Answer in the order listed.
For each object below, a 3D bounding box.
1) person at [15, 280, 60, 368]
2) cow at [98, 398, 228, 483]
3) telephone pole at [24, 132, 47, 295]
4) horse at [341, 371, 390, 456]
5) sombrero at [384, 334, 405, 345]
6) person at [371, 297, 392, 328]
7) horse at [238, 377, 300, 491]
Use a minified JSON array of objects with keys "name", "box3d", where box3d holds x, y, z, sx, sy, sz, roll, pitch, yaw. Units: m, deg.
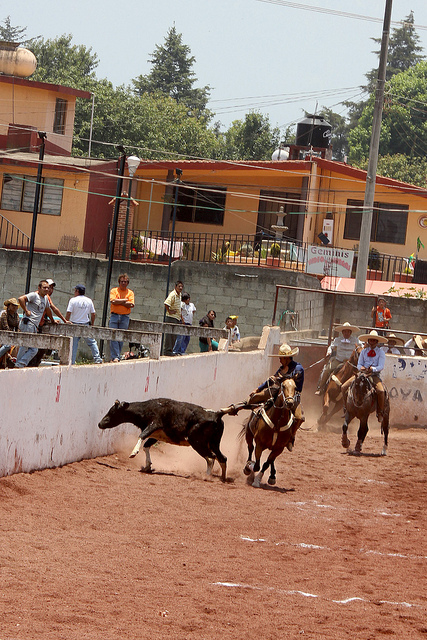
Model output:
[{"name":"person","box3d":[-2.647,0.043,14.226,0.572,1.200,1.720,7,2,-11]},{"name":"cow","box3d":[-0.547,1.433,11.797,1.478,0.937,0.488,8,1,-4]},{"name":"telephone pole","box3d":[-5.160,-2.963,27.841,0.648,6.162,0.519,11,16,43]},{"name":"horse","box3d":[2.649,1.640,16.432,0.734,1.423,1.217,8,1,27]},{"name":"sombrero","box3d":[3.790,0.416,19.654,0.302,0.091,0.310,22,-30,-24]},{"name":"person","box3d":[3.748,-0.136,21.309,0.366,0.674,1.589,8,1,10]},{"name":"horse","box3d":[0.745,1.441,12.243,0.677,1.448,2.019,7,1,3]}]
